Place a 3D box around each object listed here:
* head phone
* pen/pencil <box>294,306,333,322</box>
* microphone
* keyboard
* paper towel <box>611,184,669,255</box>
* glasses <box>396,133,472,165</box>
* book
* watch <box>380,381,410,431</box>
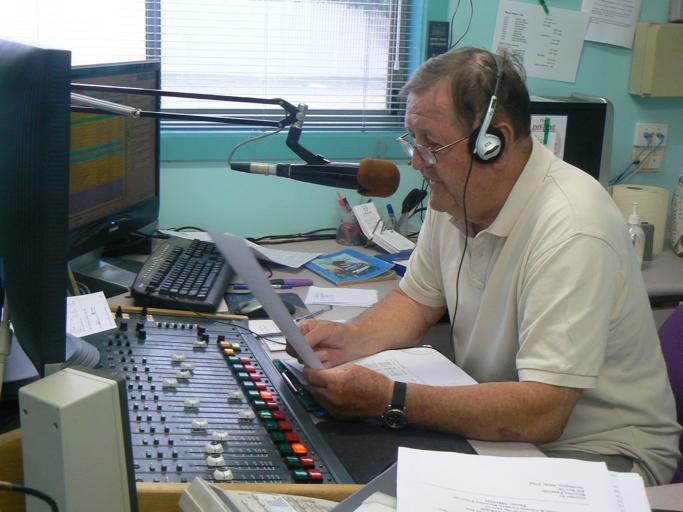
[{"bbox_3d":[0.336,-0.331,1.216,0.073,0.240,0.131,7,18,18],"label":"head phone"},{"bbox_3d":[-0.074,0.157,1.547,0.147,0.023,0.030,-12,25,-40],"label":"pen/pencil"},{"bbox_3d":[-0.060,-0.176,1.184,0.361,0.078,0.078,2,16,3],"label":"microphone"},{"bbox_3d":[-0.459,0.042,1.618,0.240,0.059,0.432,10,21,-3],"label":"keyboard"},{"bbox_3d":[1.241,-0.177,2.344,0.234,0.308,0.222,3,19,-4],"label":"paper towel"},{"bbox_3d":[0.196,-0.250,1.266,0.124,0.032,0.116,-19,28,-22],"label":"glasses"},{"bbox_3d":[0.019,0.044,1.871,0.275,0.037,0.216,20,20,31],"label":"book"},{"bbox_3d":[0.107,0.295,1.056,0.052,0.073,0.072,5,48,12],"label":"watch"}]
